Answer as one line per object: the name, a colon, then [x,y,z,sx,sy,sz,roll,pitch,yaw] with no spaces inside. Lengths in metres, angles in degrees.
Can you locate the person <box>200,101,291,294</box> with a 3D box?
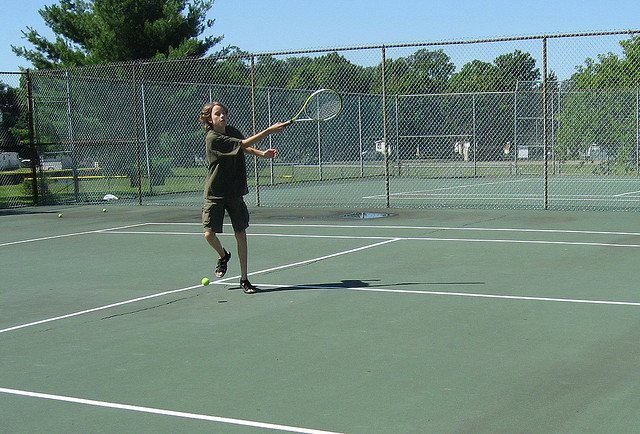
person: [-1.064,-0.253,7.535,0.684,2.342,1.413,-10,13,-35]

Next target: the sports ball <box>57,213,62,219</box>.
sports ball: [-6.808,-0.021,15.920,0.096,0.081,0.116,8,31,18]

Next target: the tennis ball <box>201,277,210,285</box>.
tennis ball: [-1.481,0.841,7.920,0.084,0.073,0.085,16,3,-1]

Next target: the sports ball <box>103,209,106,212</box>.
sports ball: [-6.034,-0.177,17.033,0.115,0.083,0.098,5,6,42]

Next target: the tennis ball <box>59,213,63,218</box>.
tennis ball: [-6.745,-0.022,15.833,0.103,0.084,0.119,3,-2,13]

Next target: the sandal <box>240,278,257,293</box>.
sandal: [-0.906,0.842,7.491,0.262,0.164,0.136,5,12,37]
